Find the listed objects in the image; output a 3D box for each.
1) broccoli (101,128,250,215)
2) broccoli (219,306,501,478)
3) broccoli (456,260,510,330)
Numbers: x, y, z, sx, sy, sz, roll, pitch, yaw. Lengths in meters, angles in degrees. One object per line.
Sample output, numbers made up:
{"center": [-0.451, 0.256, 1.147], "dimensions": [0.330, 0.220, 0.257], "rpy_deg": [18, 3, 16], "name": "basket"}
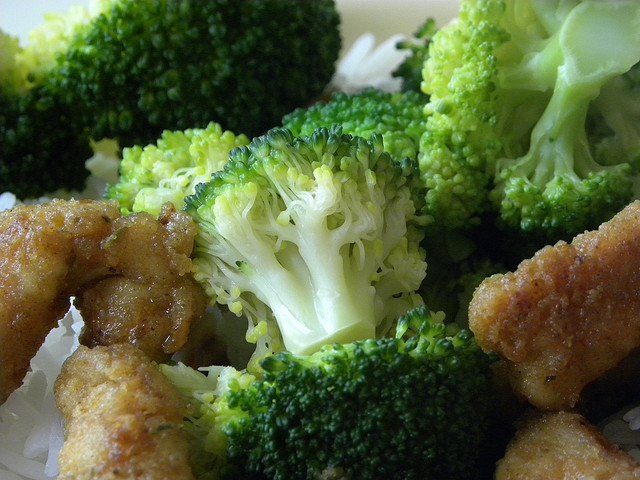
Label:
{"center": [-0.432, -0.162, 1.550], "dimensions": [0.209, 0.125, 0.267], "rpy_deg": [22, 12, 14], "name": "broccoli"}
{"center": [0.097, 0.288, 1.350], "dimensions": [0.436, 0.368, 0.197], "rpy_deg": [-9, 28, 0], "name": "broccoli"}
{"center": [0.372, 0.121, 1.498], "dimensions": [0.134, 0.040, 0.168], "rpy_deg": [24, 75, 12], "name": "broccoli"}
